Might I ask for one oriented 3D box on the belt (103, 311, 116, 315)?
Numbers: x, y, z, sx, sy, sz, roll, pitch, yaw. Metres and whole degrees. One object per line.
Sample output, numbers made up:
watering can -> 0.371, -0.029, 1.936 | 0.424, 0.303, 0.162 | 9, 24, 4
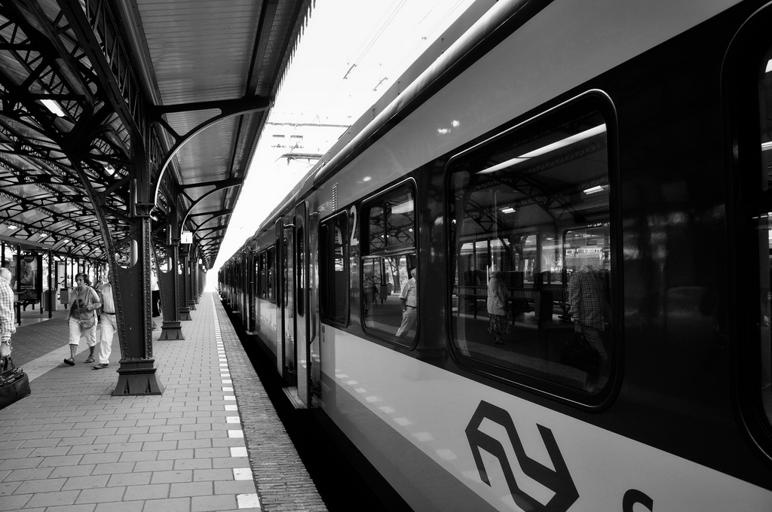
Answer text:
belt -> -5.678, 1.167, 10.826 | 0.201, 0.052, 0.207 | 2, -1, -21

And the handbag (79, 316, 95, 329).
handbag -> -6.224, 1.378, 11.006 | 0.268, 0.229, 0.271 | 5, -4, -35

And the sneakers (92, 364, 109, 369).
sneakers -> -5.839, 2.252, 10.811 | 0.105, 0.131, 0.316 | -6, -12, 28
